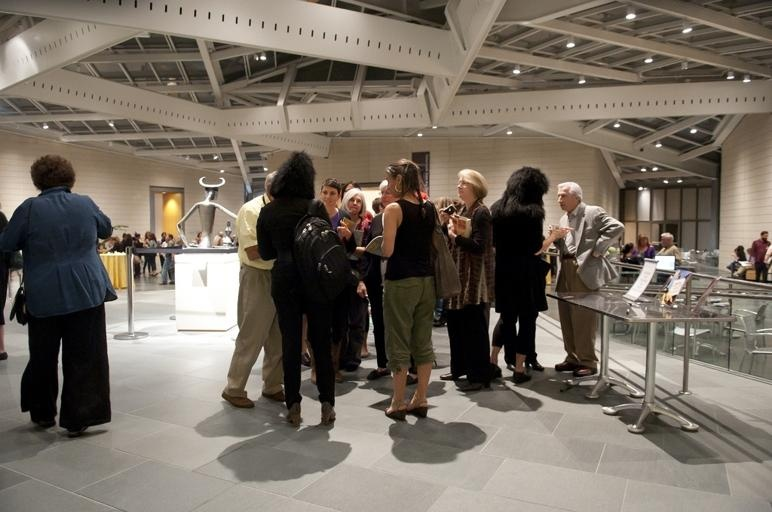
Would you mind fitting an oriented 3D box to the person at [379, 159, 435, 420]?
[{"bbox_3d":[0.211,0.316,4.647,0.494,2.372,0.497,1,10,6],"label":"person"}]

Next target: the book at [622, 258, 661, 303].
[{"bbox_3d":[2.506,0.226,4.900,0.188,0.442,0.246,6,20,-13],"label":"book"}]

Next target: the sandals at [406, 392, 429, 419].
[{"bbox_3d":[0.295,1.424,4.671,0.107,0.218,0.300,8,-7,-32],"label":"sandals"}]

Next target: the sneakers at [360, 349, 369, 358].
[{"bbox_3d":[-0.299,1.272,6.501,0.150,0.100,0.379,-1,-8,4],"label":"sneakers"}]

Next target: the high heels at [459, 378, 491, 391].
[{"bbox_3d":[0.923,1.394,5.343,0.279,0.107,0.152,5,-6,4],"label":"high heels"}]

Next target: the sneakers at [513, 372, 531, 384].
[{"bbox_3d":[1.494,1.335,5.521,0.085,0.103,0.250,3,6,44],"label":"sneakers"}]

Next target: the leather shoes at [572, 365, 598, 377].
[{"bbox_3d":[2.246,1.313,5.635,0.264,0.100,0.105,5,-9,-24],"label":"leather shoes"}]

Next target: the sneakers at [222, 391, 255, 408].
[{"bbox_3d":[-1.458,1.389,4.915,0.329,0.124,0.126,6,5,19],"label":"sneakers"}]

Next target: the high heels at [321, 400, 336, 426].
[{"bbox_3d":[-0.537,1.429,4.514,0.090,0.249,0.105,-1,31,-4],"label":"high heels"}]

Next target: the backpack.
[{"bbox_3d":[-0.582,-0.019,4.359,0.447,0.897,0.369,8,13,41],"label":"backpack"}]

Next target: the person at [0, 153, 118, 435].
[{"bbox_3d":[-2.849,0.330,4.404,0.836,2.424,0.600,2,10,11],"label":"person"}]

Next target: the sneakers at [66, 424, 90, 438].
[{"bbox_3d":[-2.703,1.514,4.352,0.171,0.108,0.127,-6,11,-34],"label":"sneakers"}]

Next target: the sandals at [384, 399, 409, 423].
[{"bbox_3d":[0.095,1.458,4.638,0.094,0.105,0.272,4,-6,-23],"label":"sandals"}]

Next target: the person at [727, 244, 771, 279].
[{"bbox_3d":[9.417,0.160,12.878,0.964,0.579,0.958,-1,1,5],"label":"person"}]

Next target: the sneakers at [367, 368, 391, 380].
[{"bbox_3d":[-0.099,1.345,5.679,0.360,0.127,0.121,8,-12,-41],"label":"sneakers"}]

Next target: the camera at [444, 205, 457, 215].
[{"bbox_3d":[0.676,-0.488,5.302,0.172,0.076,0.239,1,-4,8],"label":"camera"}]

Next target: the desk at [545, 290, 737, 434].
[{"bbox_3d":[2.351,0.931,4.833,1.178,1.139,1.348,0,9,2],"label":"desk"}]

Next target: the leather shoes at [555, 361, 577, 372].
[{"bbox_3d":[2.101,1.300,5.856,0.259,0.112,0.094,2,-3,-2],"label":"leather shoes"}]

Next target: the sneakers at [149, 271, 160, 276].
[{"bbox_3d":[-8.633,0.655,18.447,0.152,0.078,0.222,-3,9,30],"label":"sneakers"}]

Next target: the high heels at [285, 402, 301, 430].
[{"bbox_3d":[-0.824,1.428,4.441,0.095,0.139,0.258,2,1,-9],"label":"high heels"}]
